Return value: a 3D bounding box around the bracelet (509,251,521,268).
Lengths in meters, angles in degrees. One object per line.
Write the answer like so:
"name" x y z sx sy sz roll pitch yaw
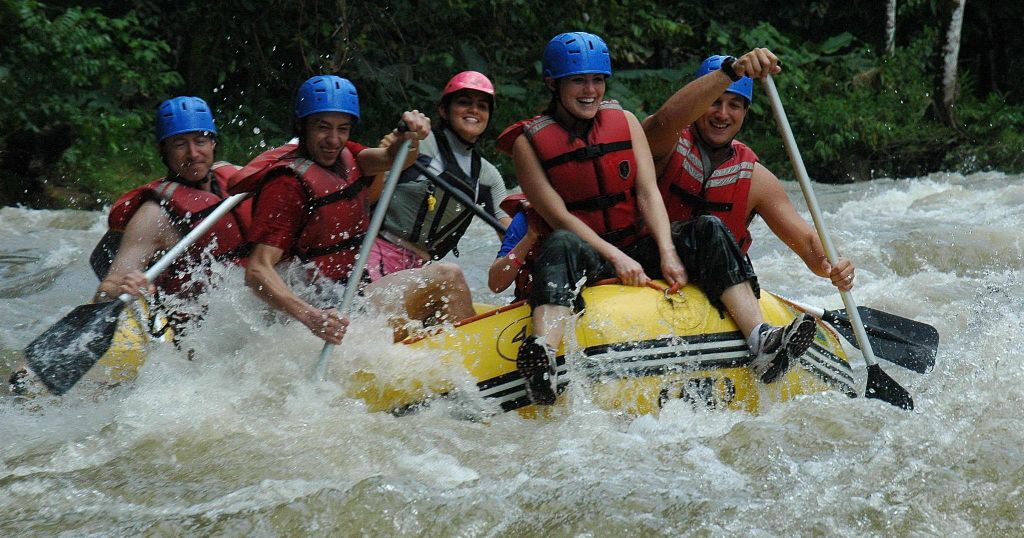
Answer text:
"bracelet" 0.045 -0.078 8.653 0.052 0.128 0.102 -38 -21 7

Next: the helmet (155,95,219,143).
"helmet" -3.282 -1.542 9.171 0.401 0.545 0.406 -1 26 -11

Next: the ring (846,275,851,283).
"ring" 3.162 0.103 8.487 0.062 0.044 0.032 18 50 0

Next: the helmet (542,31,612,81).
"helmet" 0.589 -1.948 8.439 0.410 0.548 0.435 3 7 -5
